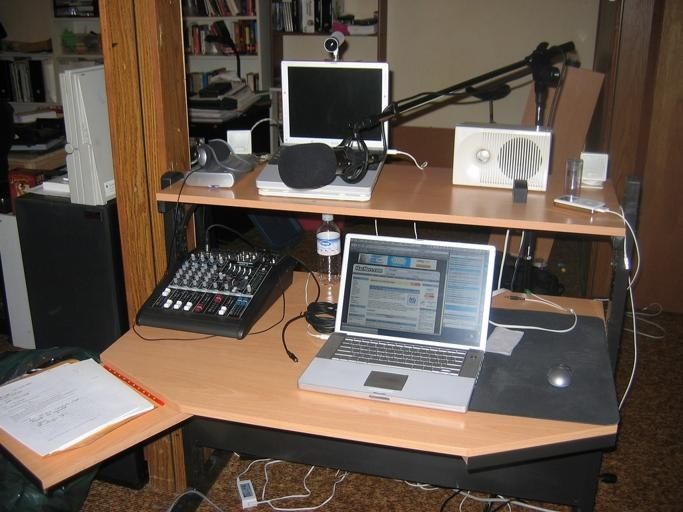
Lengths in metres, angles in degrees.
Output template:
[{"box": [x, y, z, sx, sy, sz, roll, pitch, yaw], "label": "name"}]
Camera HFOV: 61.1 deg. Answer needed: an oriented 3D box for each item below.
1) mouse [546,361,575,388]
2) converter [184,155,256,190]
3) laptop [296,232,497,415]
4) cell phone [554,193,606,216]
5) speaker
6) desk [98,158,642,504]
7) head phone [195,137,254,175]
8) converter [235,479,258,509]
[{"box": [0.681, 0.374, 1.801, 0.071, 0.049, 0.062, 12, 26, 25], "label": "mouse"}, {"box": [-0.480, -0.373, 2.365, 0.204, 0.079, 0.348, 2, 27, 7], "label": "converter"}, {"box": [0.179, 0.185, 1.845, 0.538, 0.329, 0.513, 6, 20, 21], "label": "laptop"}, {"box": [0.833, -0.195, 2.004, 0.140, 0.023, 0.081, 18, 23, 33], "label": "cell phone"}, {"box": [0.617, -0.413, 2.218, 0.365, 0.244, 0.213, 4, 34, 12], "label": "speaker"}, {"box": [0.313, 0.217, 2.546, 1.870, 1.108, 1.272, 5, 23, 10], "label": "desk"}, {"box": [-0.473, -0.396, 2.317, 0.210, 0.115, 0.281, 13, 23, 5], "label": "head phone"}, {"box": [-0.392, 0.972, 2.376, 0.065, 0.033, 0.141, -2, 32, -12], "label": "converter"}]
